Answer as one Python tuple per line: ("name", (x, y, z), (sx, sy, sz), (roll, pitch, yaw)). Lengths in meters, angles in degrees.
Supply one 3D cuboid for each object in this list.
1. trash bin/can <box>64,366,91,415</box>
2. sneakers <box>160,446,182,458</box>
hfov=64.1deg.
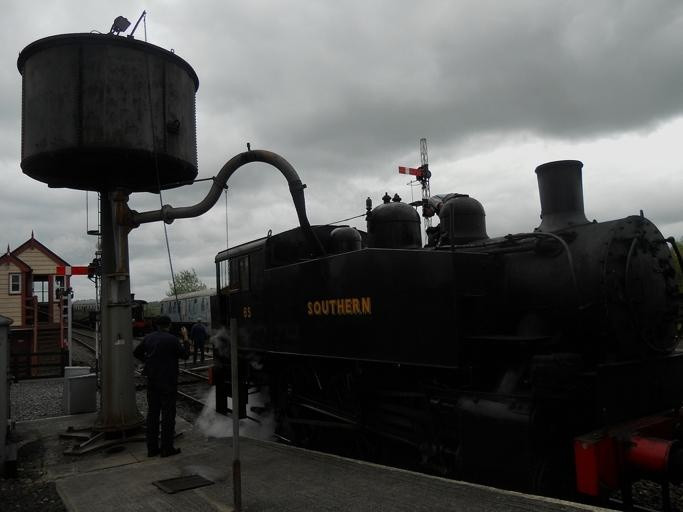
("trash bin/can", (-5.155, 2.665, 10.641), (0.358, 0.693, 0.673), (-1, -7, -21))
("sneakers", (-2.402, 2.775, 7.741), (0.108, 0.144, 0.333), (1, 2, 34))
